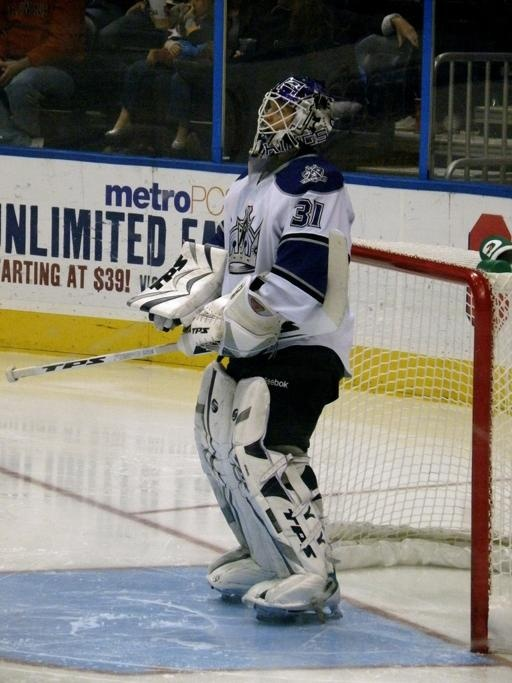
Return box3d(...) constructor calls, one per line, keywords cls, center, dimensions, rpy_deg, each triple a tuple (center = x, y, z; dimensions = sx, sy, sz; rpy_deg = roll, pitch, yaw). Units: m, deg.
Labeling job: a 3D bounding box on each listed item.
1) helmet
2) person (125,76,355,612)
box3d(cls="helmet", center=(0.088, -0.617, 2.881), dimensions=(0.286, 0.192, 0.188), rpy_deg=(1, 16, -9))
box3d(cls="person", center=(0.027, 0.016, 2.936), dimensions=(0.441, 1.489, 0.556), rpy_deg=(-8, 13, -38))
